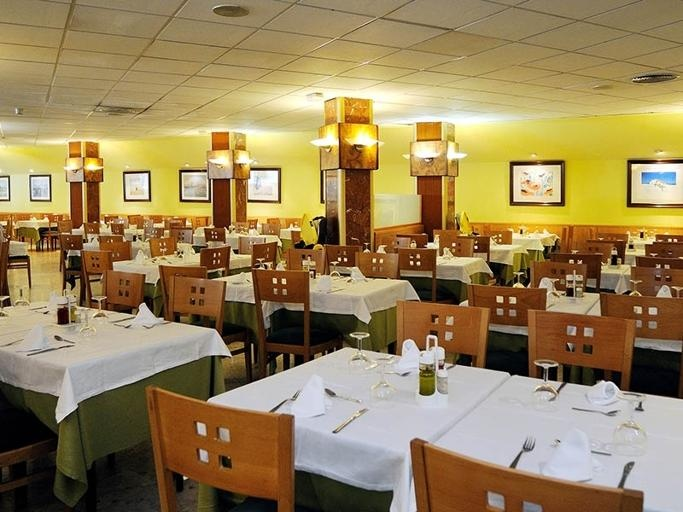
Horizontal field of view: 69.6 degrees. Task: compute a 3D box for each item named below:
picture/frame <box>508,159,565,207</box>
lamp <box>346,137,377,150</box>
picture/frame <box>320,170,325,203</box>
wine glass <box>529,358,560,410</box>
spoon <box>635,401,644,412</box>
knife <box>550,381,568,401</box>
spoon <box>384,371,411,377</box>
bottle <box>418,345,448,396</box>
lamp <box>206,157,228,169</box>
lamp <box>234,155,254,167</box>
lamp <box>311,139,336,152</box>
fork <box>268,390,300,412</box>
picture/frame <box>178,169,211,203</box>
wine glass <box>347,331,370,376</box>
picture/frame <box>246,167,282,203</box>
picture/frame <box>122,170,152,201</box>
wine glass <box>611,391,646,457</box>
[{"bbox_3d":[5.548,-2.098,13.853,1.446,1.153,0.102,1,5,21],"label":"picture/frame"},{"bbox_3d":[0.389,-2.035,8.843,0.629,0.262,0.090,-5,5,-29],"label":"lamp"},{"bbox_3d":[-0.624,-2.190,15.845,0.104,0.969,0.389,-4,4,-15],"label":"picture/frame"},{"bbox_3d":[0.865,0.545,2.093,0.113,0.173,0.104,2,-22,19],"label":"wine glass"},{"bbox_3d":[1.205,0.611,1.996,0.036,0.038,0.035,2,-5,-5],"label":"spoon"},{"bbox_3d":[0.935,0.586,2.121,0.016,0.012,0.143,16,28,32],"label":"knife"},{"bbox_3d":[0.264,0.566,2.348,0.141,0.037,0.025,6,-8,-18],"label":"spoon"},{"bbox_3d":[0.368,0.474,2.014,0.117,0.193,0.197,0,-3,3],"label":"bottle"},{"bbox_3d":[-3.271,-2.470,12.977,0.621,0.270,0.144,0,5,33],"label":"lamp"},{"bbox_3d":[-2.579,-2.561,13.130,0.200,0.254,0.624,-1,4,18],"label":"lamp"},{"bbox_3d":[-0.323,-2.005,8.816,0.260,0.256,0.562,-5,5,-26],"label":"lamp"},{"bbox_3d":[-0.237,0.605,2.034,0.017,0.016,0.144,0,23,40],"label":"fork"},{"bbox_3d":[-5.515,-2.672,18.610,1.515,1.247,0.110,4,7,23],"label":"picture/frame"},{"bbox_3d":[0.084,0.488,2.466,0.124,0.202,0.113,6,4,-2],"label":"wine glass"},{"bbox_3d":[-2.590,-2.468,16.774,1.421,1.370,0.097,6,10,30],"label":"picture/frame"},{"bbox_3d":[-8.176,-2.872,19.819,1.303,1.071,0.111,3,4,29],"label":"picture/frame"},{"bbox_3d":[1.026,0.600,1.739,0.139,0.206,0.138,14,-12,-41],"label":"wine glass"}]
